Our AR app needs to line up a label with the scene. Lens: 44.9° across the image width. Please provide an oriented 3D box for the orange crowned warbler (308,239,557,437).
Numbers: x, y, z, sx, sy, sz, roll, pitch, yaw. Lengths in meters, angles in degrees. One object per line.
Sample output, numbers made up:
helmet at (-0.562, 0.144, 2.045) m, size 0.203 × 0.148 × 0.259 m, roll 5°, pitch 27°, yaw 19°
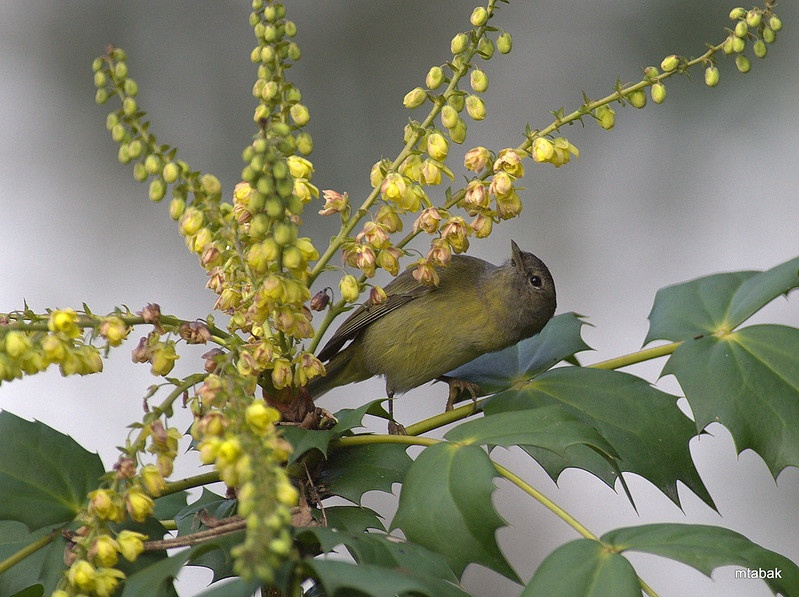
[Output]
orange crowned warbler at (0.020, 0.088, 2.041) m, size 0.620 × 0.408 × 0.246 m, roll 0°, pitch -5°, yaw 23°
